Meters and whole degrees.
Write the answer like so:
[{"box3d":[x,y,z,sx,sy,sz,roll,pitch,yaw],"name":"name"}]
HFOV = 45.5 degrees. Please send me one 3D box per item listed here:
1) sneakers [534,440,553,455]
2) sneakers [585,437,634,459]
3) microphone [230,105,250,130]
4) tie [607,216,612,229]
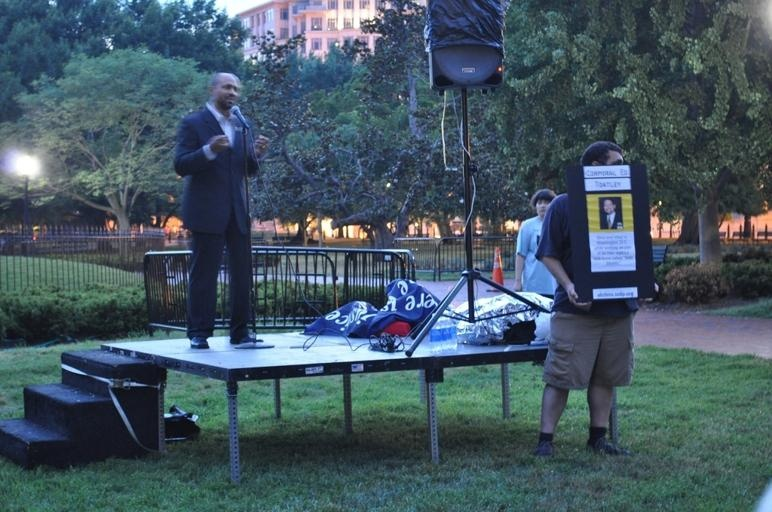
[{"box3d":[2.281,2.770,13.191,0.231,0.279,0.162,-1,-5,7],"name":"sneakers"},{"box3d":[3.219,2.742,13.119,0.622,0.315,0.232,-1,2,1],"name":"sneakers"},{"box3d":[-2.156,-2.097,13.641,0.136,0.163,0.544,-7,30,-27],"name":"microphone"},{"box3d":[3.163,-0.454,12.839,0.069,0.132,0.042,-2,12,-2],"name":"tie"}]
